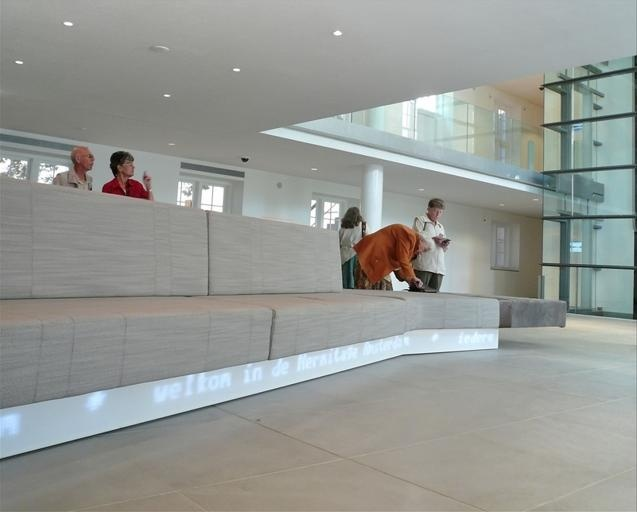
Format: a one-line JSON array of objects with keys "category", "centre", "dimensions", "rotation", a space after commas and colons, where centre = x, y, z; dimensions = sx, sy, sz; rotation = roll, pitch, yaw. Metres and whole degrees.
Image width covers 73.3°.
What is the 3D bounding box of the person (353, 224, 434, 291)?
[{"category": "person", "centre": [0.753, -0.018, 4.417], "dimensions": [0.742, 0.669, 0.469], "rotation": [24, 12, 21]}]
